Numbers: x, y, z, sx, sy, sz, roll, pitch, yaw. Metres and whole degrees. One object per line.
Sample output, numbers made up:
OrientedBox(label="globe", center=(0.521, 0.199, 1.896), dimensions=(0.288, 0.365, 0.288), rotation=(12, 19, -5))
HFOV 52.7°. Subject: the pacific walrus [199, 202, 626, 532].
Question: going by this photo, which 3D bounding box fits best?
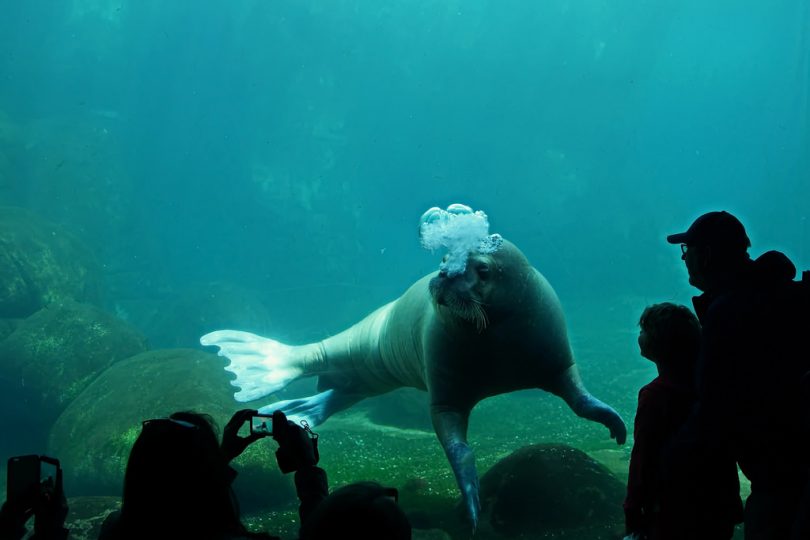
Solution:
OrientedBox(label="pacific walrus", center=(0.214, 2.652, 26.823), dimensions=(10.646, 8.650, 13.840), rotation=(-10, 2, -27))
